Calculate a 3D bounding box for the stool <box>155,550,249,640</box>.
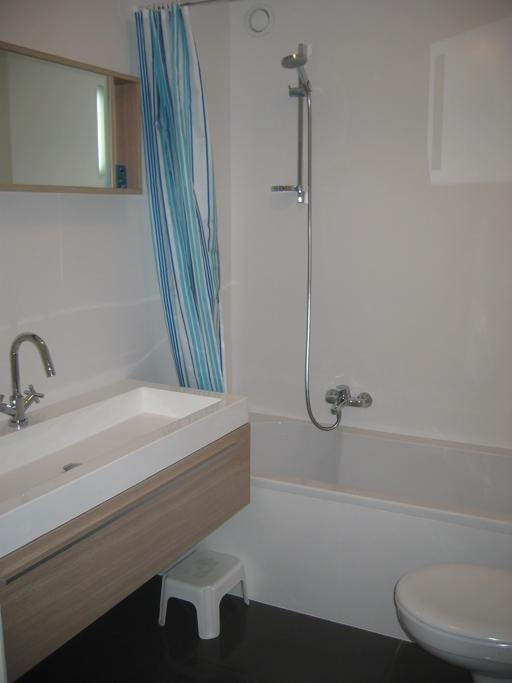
[{"bbox_3d":[-0.191,0.869,1.875,0.267,0.205,0.285,2,5,26],"label":"stool"}]
